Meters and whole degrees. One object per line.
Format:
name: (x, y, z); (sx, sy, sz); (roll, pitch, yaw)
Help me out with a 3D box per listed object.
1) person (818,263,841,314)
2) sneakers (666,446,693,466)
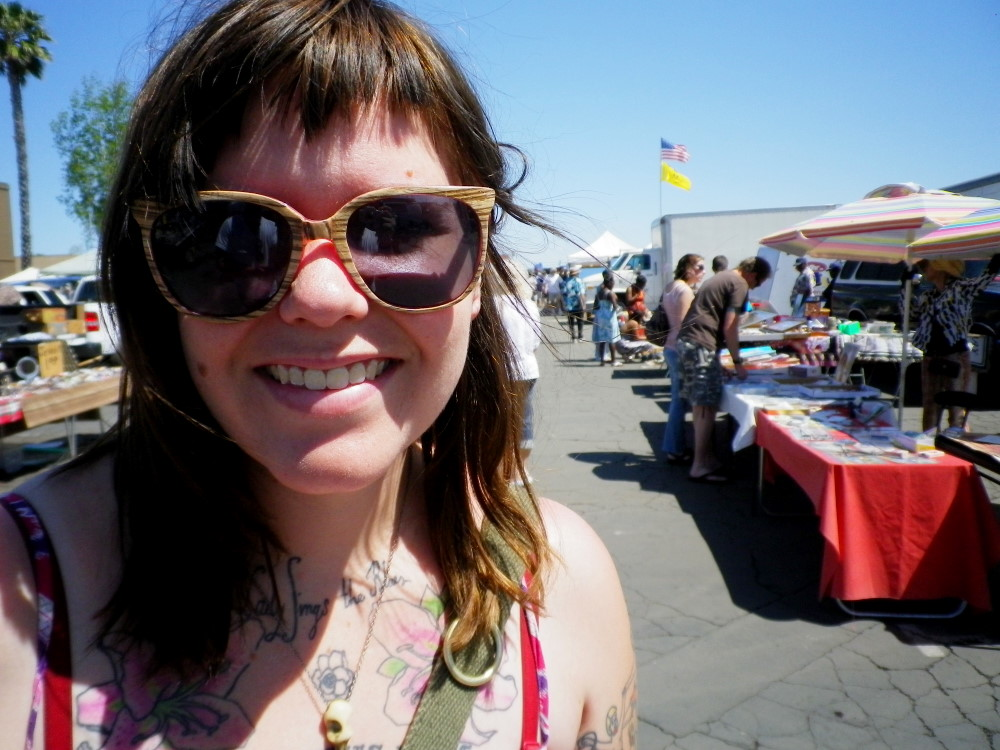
person: (5.235, -1.355, 12.063); (0.317, 0.878, 0.685); (12, -8, 25)
sneakers: (1.634, 0.744, 6.929); (0.236, 0.165, 0.138); (3, 5, 5)
